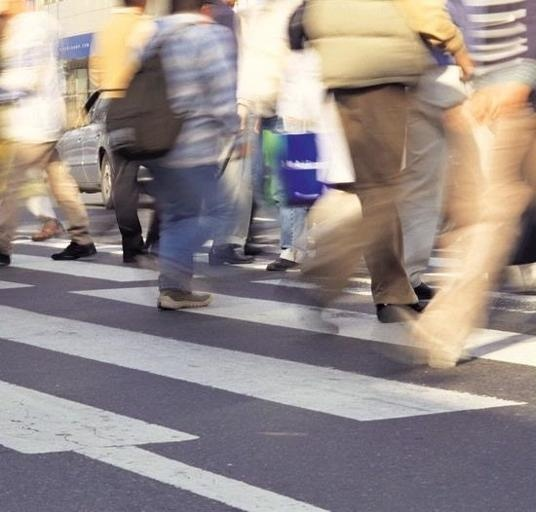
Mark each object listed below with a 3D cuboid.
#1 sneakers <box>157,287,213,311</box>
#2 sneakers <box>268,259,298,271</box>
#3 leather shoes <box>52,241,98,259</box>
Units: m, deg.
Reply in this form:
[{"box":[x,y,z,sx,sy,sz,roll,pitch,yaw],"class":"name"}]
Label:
[{"box":[-0.549,0.281,4.955,0.397,0.128,0.127,-2,5,-39],"class":"sneakers"},{"box":[0.108,0.080,6.880,0.291,0.091,0.107,-1,-6,25],"class":"sneakers"},{"box":[-1.937,-0.046,7.618,0.523,0.175,0.160,-1,1,-30],"class":"leather shoes"}]
